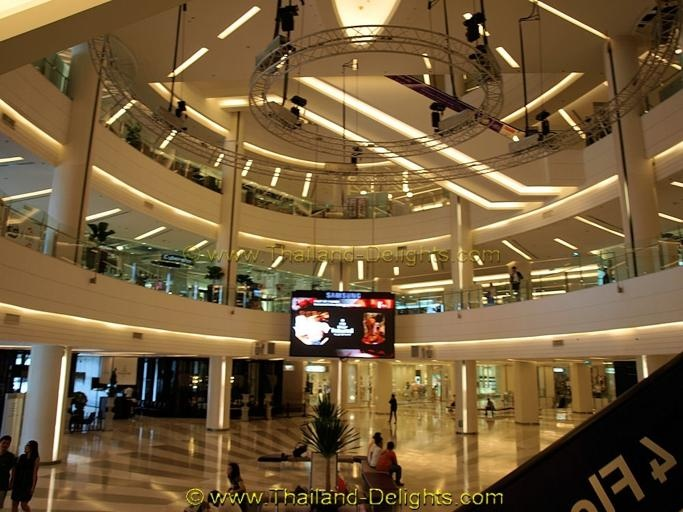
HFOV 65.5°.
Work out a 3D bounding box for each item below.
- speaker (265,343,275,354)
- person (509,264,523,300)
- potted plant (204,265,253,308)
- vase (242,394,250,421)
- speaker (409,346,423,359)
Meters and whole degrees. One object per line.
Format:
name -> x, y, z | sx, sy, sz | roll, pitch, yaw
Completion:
speaker -> -2.577, 3.384, 19.525 | 0.185, 0.447, 0.489 | -5, -17, 16
person -> 5.530, 0.847, 16.814 | 0.387, 1.294, 1.486 | -6, -17, 17
potted plant -> -4.032, 1.132, 19.216 | 1.367, 1.492, 3.065 | -3, -15, 9
vase -> -4.156, 6.557, 23.099 | 0.314, 1.078, 0.664 | 3, -18, -8
speaker -> 2.725, 3.507, 19.312 | 0.537, 0.389, 0.428 | -1, -8, 9
